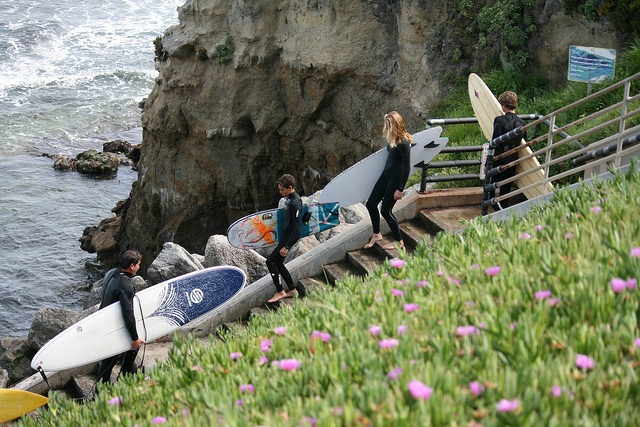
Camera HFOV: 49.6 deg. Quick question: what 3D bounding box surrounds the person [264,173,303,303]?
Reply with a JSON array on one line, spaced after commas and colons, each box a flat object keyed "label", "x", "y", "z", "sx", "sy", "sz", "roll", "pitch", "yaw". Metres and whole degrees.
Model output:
[{"label": "person", "x": -0.721, "y": 0.533, "z": 13.941, "sx": 0.937, "sy": 2.523, "sz": 0.611, "roll": -12, "pitch": 15, "yaw": -12}]

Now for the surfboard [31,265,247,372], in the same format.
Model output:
[{"label": "surfboard", "x": -3.607, "y": 2.161, "z": 13.911, "sx": 4.331, "sy": 1.199, "sz": 0.606, "roll": -30, "pitch": 19, "yaw": -28}]

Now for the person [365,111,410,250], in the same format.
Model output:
[{"label": "person", "x": 1.375, "y": -0.622, "z": 13.835, "sx": 1.015, "sy": 2.654, "sz": 0.630, "roll": -6, "pitch": 15, "yaw": 11}]

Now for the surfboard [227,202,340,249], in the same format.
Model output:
[{"label": "surfboard", "x": -0.958, "y": 0.296, "z": 14.552, "sx": 2.751, "sy": 1.069, "sz": 0.507, "roll": -10, "pitch": 11, "yaw": -9}]

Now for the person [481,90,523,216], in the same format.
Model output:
[{"label": "person", "x": 3.887, "y": -1.351, "z": 14.040, "sx": 0.676, "sy": 2.730, "sz": 0.735, "roll": 2, "pitch": 40, "yaw": 14}]

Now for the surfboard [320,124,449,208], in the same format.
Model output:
[{"label": "surfboard", "x": 1.549, "y": -1.102, "z": 15.789, "sx": 3.485, "sy": 0.885, "sz": 0.509, "roll": -40, "pitch": 18, "yaw": -10}]
